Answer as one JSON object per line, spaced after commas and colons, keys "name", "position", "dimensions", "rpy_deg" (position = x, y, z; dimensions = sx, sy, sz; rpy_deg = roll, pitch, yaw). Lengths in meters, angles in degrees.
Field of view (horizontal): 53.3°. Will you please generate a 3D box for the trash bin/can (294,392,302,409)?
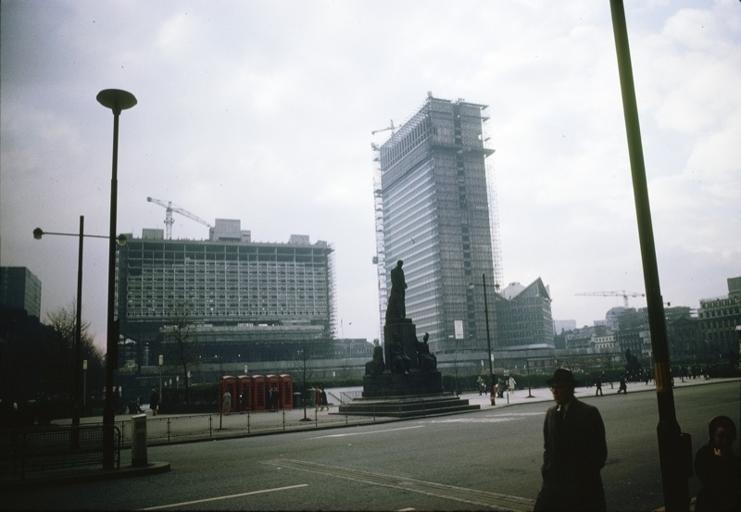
{"name": "trash bin/can", "position": [-6.148, 12.312, 62.939], "dimensions": [0.962, 1.558, 1.003], "rpy_deg": [-1, -4, -2]}
